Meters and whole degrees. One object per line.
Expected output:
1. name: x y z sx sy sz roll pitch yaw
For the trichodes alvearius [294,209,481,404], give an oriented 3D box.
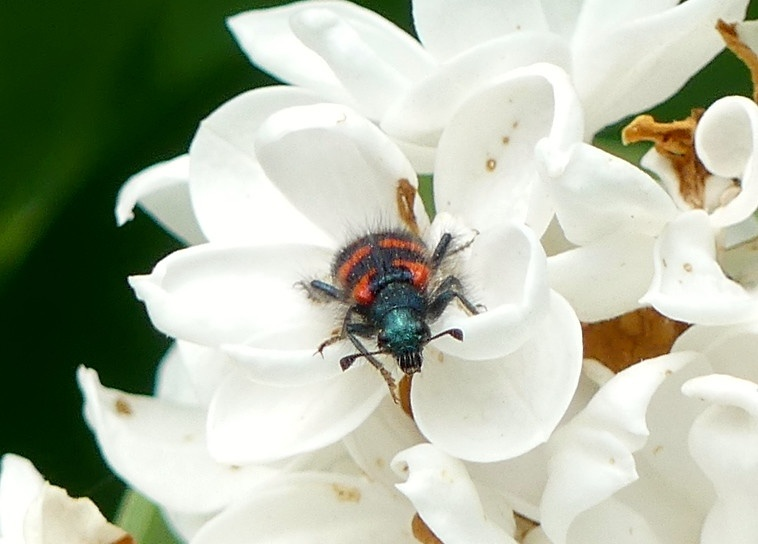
1. trichodes alvearius: 0.020 0.020 1.243 0.172 0.061 0.184 -16 62 1
